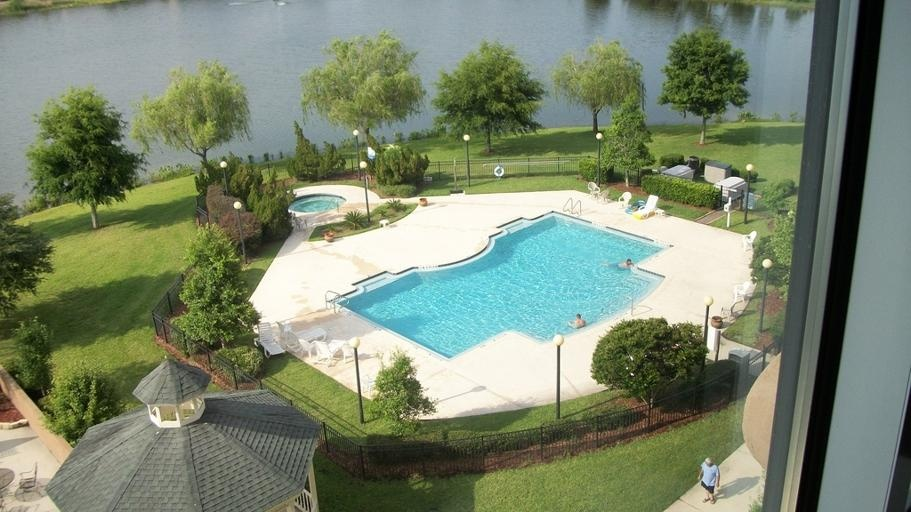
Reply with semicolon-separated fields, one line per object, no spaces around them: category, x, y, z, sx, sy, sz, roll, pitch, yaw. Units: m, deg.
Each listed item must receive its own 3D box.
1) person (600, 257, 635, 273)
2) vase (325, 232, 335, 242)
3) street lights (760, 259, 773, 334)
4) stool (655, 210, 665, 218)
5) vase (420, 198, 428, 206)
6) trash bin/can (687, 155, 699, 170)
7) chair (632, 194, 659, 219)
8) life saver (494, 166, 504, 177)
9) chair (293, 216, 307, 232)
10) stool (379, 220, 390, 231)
person;5.555;0.386;23.654;1.152;0.487;0.463;5;39;19
vase;-4.747;-0.734;26.046;0.297;0.255;0.387;-8;16;-28
street lights;2.037;0.243;4.536;0.070;0.539;0.195;2;20;25
stool;8.107;-1.713;27.366;0.337;0.216;0.336;-19;21;-30
vase;-1.390;-2.390;29.808;0.341;0.281;0.326;-11;21;-21
trash bin/can;10.372;-4.144;30.168;0.584;0.612;0.578;12;37;34
chair;7.649;-1.880;27.513;1.431;0.690;0.666;-28;40;-29
life saver;2.074;-4.091;33.200;0.469;0.526;0.892;-6;17;0
chair;-6.269;-1.372;27.773;0.536;0.462;1.260;-10;17;-12
stool;-2.833;-1.277;27.709;0.381;0.277;0.385;31;53;31
